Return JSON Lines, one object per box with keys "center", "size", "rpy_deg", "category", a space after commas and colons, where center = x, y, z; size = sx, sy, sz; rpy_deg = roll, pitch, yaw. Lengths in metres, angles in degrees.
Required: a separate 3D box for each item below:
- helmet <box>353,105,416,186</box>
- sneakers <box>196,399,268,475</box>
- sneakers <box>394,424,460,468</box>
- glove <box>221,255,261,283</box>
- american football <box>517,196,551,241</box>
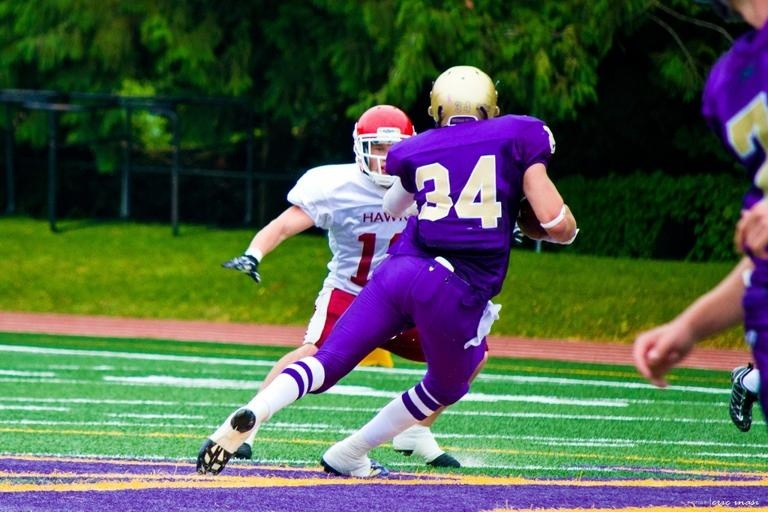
{"center": [-0.036, -0.785, 8.761], "size": [0.439, 0.499, 0.552], "rpy_deg": [0, 7, -7], "category": "helmet"}
{"center": [-1.015, 1.192, 8.006], "size": [0.226, 0.614, 0.285], "rpy_deg": [47, 6, -27], "category": "sneakers"}
{"center": [0.286, 1.361, 8.898], "size": [0.615, 0.275, 0.206], "rpy_deg": [7, -4, 17], "category": "sneakers"}
{"center": [-0.943, 0.123, 8.330], "size": [0.202, 0.079, 0.204], "rpy_deg": [22, -8, 27], "category": "glove"}
{"center": [0.991, -0.239, 8.238], "size": [0.196, 0.230, 0.251], "rpy_deg": [0, 4, 5], "category": "american football"}
